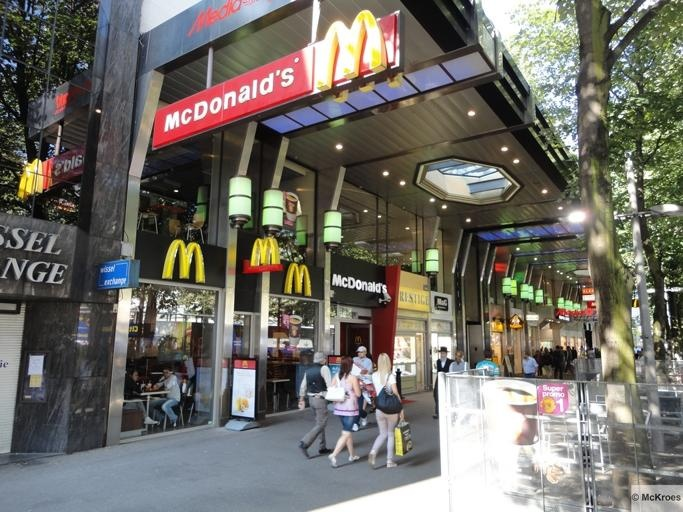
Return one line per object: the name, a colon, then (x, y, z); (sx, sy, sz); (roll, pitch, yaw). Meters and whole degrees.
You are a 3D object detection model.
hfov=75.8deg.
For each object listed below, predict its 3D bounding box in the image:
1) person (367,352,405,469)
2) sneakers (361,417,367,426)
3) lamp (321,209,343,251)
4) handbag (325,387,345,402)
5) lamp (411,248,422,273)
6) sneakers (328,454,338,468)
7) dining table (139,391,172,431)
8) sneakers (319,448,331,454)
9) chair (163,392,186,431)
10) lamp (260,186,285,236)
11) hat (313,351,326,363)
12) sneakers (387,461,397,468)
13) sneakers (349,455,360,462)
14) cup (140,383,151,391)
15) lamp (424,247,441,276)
person: (0.846, 2.967, 8.489); (0.620, 2.037, 0.805); (-4, -13, 9)
sneakers: (0.624, 4.609, 12.090); (0.104, 0.216, 0.288); (-4, -12, 13)
lamp: (-0.287, -0.906, 14.671); (0.514, 1.341, 0.425); (2, -10, -12)
handbag: (-0.106, 2.687, 8.431); (0.283, 0.305, 0.101); (1, -51, 17)
lamp: (3.733, 0.253, 21.525); (0.787, 1.207, 0.397); (5, -11, -28)
sneakers: (-0.166, 3.907, 8.337); (0.104, 0.297, 0.119); (-19, -12, 28)
dining table: (-4.750, 3.893, 11.025); (0.759, 0.820, 0.795); (1, -10, -8)
sneakers: (-0.331, 4.069, 9.118); (0.260, 0.121, 0.095); (4, -6, -22)
chair: (-4.293, 4.100, 11.316); (0.615, 1.005, 0.638); (-11, -21, 33)
lamp: (-1.880, -1.292, 12.201); (0.521, 1.258, 0.359); (4, -10, -18)
hat: (-0.527, 2.304, 9.899); (0.214, 0.283, 0.277); (6, 9, 35)
sneakers: (0.958, 3.989, 8.403); (0.242, 0.102, 0.081); (5, -5, -43)
sneakers: (0.266, 4.051, 8.761); (0.094, 0.104, 0.245); (-1, -1, 40)
cup: (-4.823, 3.257, 10.799); (0.209, 0.108, 0.301); (2, -3, -19)
lamp: (4.081, 0.224, 19.841); (0.487, 1.064, 0.502); (0, -10, 5)
